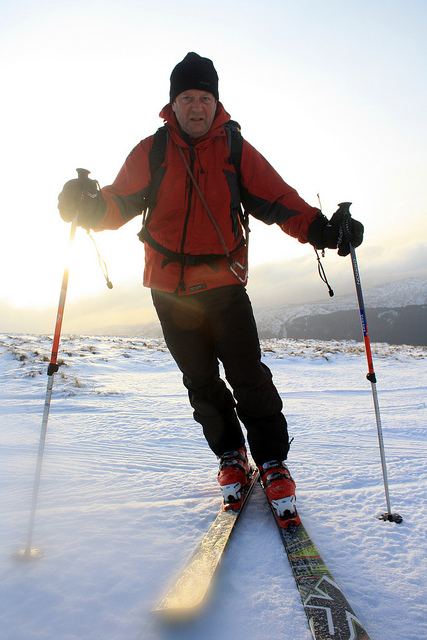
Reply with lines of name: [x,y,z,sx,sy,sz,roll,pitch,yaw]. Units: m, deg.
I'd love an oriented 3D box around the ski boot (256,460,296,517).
ski boot: [0.325,0.850,2.578,0.092,0.127,0.306,-3,-5,-2]

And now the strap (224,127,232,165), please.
strap: [0.082,-0.957,2.776,0.056,0.174,0.127,3,10,2]

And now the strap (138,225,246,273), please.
strap: [-0.161,-0.345,2.749,0.409,0.304,0.209,0,5,-22]

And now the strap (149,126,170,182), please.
strap: [-0.284,-0.917,2.771,0.095,0.288,0.137,-5,-1,29]

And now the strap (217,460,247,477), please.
strap: [0.108,0.821,2.797,0.105,0.064,0.134,-7,2,2]

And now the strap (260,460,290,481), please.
strap: [0.314,0.790,2.714,0.092,0.114,0.107,2,2,-1]

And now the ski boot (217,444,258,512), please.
ski boot: [0.137,0.859,2.905,0.176,0.226,0.577,-9,9,13]

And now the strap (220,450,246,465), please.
strap: [0.105,0.779,2.893,0.070,0.045,0.112,-2,-2,26]

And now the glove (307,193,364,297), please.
glove: [0.661,-0.462,2.572,0.298,0.227,0.100,12,-41,-32]

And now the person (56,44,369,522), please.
person: [-0.007,-0.271,2.740,1.404,2.515,0.668,-5,-1,-1]
